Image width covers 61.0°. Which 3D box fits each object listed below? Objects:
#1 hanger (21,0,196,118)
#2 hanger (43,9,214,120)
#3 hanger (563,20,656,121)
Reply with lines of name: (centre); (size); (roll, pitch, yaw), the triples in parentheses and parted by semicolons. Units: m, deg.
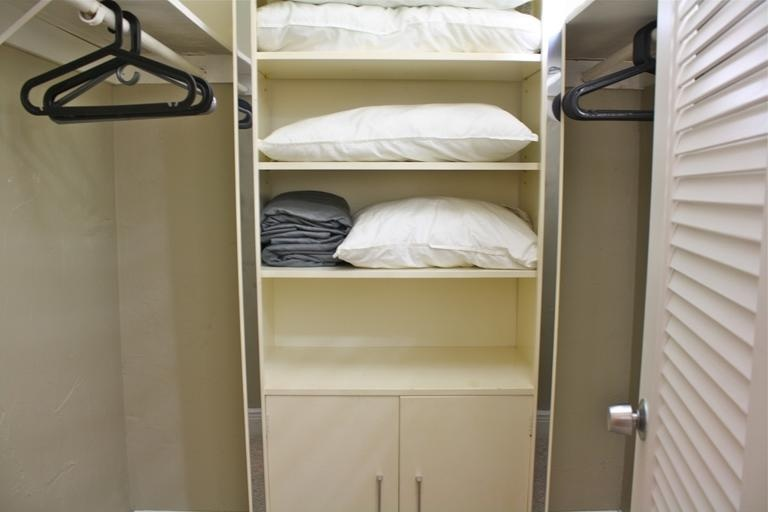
hanger: (-0.951, -0.673, 2.289); (0.589, 0.380, 0.200); (-3, -15, 11)
hanger: (-0.990, -0.744, 2.492); (0.631, 0.400, 0.084); (0, 1, 1)
hanger: (0.871, -0.707, 2.536); (0.359, 0.346, 0.162); (-4, -15, 14)
